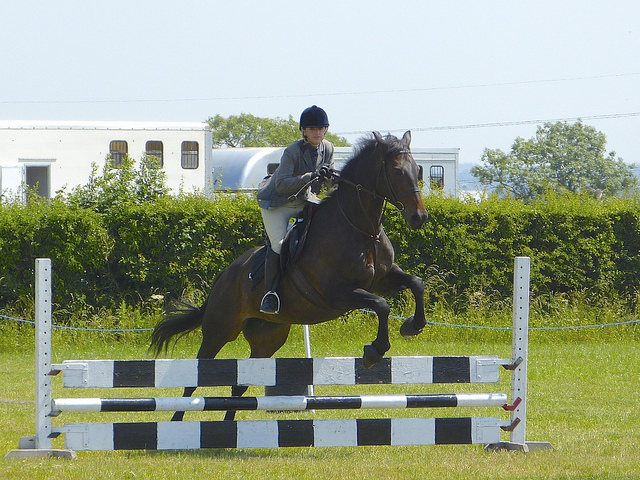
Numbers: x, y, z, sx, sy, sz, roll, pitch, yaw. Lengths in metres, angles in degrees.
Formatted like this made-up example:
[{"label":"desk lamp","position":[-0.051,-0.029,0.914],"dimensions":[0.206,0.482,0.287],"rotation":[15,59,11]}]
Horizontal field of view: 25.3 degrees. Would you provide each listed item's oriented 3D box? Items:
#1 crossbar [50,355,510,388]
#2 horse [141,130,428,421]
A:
[{"label":"crossbar","position":[-0.574,1.863,19.959],"dimensions":[5.990,0.374,0.207],"rotation":[0,-3,-2]},{"label":"horse","position":[-0.623,0.959,21.418],"dimensions":[5.874,4.037,1.304],"rotation":[-15,-13,42]}]
